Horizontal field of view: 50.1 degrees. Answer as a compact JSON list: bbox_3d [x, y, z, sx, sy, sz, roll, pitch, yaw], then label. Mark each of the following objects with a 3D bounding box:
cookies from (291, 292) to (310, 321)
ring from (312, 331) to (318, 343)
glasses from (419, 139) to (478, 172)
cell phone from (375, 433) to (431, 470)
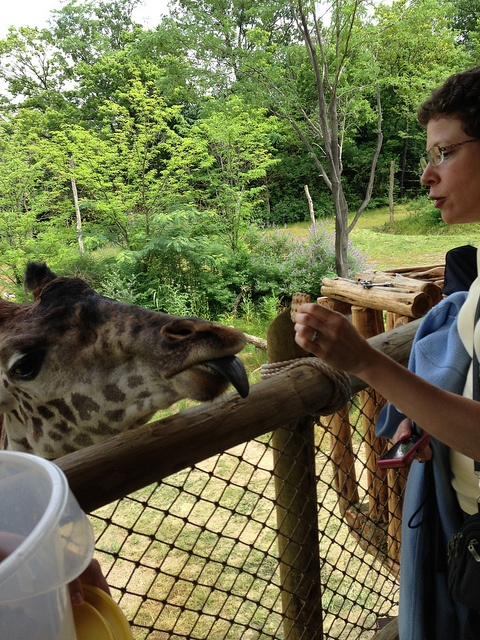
[{"bbox_3d":[0.174,-0.046,1.539,0.064,0.090,0.012,11,-9,23],"label":"cookies"},{"bbox_3d":[0.180,0.039,1.224,0.016,0.027,0.007,-5,15,7],"label":"ring"},{"bbox_3d":[0.581,-0.492,1.486,0.176,0.042,0.150,-13,10,7],"label":"glasses"},{"bbox_3d":[0.545,0.433,1.681,0.181,0.035,0.165,-24,-3,-3],"label":"cell phone"}]
